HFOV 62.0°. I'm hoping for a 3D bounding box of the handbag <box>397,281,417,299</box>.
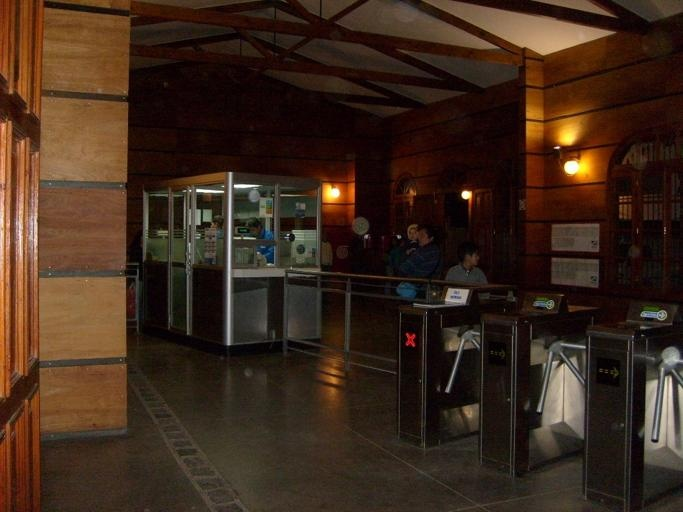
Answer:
[{"bbox_3d":[0.813,0.424,7.030,0.165,0.190,0.298,3,-9,16],"label":"handbag"}]
